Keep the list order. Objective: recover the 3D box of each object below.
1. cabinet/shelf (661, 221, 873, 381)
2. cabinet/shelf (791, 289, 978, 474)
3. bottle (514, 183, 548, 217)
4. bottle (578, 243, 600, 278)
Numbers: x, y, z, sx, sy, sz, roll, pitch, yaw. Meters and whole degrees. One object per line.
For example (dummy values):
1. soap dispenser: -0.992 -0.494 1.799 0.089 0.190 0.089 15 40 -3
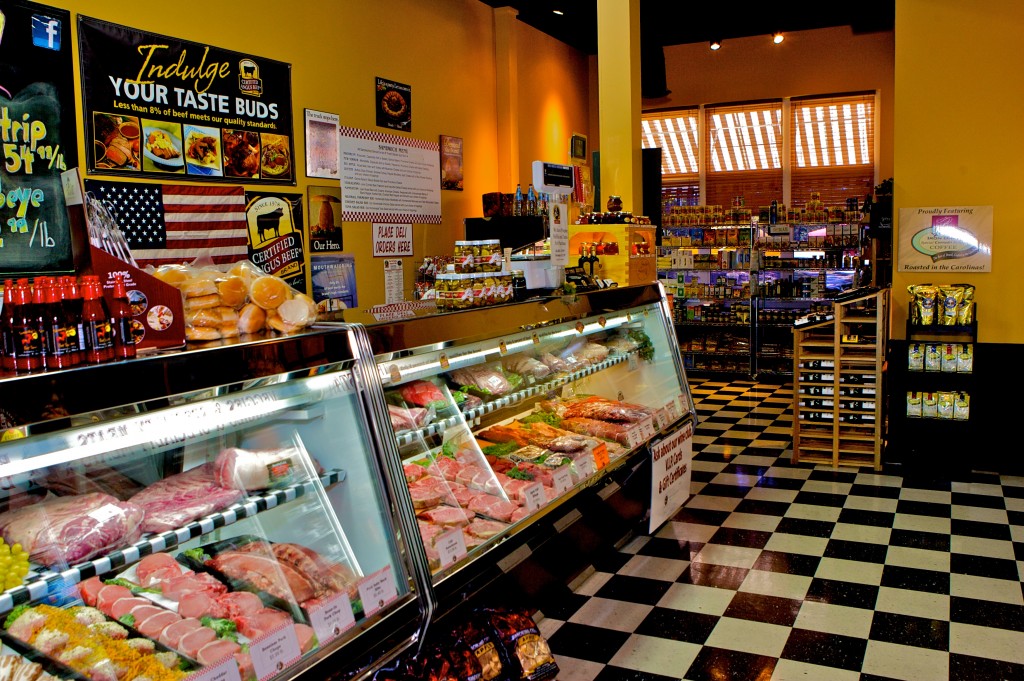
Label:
1. cabinet/shelf: 3.390 -0.531 8.741 2.349 1.899 0.491 4 9 25
2. cabinet/shelf: 3.777 0.303 6.809 1.393 2.522 1.380 3 6 31
3. bottle: 0.164 -1.352 6.599 0.381 0.267 0.279 1 10 19
4. bottle: 0.643 -0.665 5.611 0.138 0.170 0.432 -1 2 5
